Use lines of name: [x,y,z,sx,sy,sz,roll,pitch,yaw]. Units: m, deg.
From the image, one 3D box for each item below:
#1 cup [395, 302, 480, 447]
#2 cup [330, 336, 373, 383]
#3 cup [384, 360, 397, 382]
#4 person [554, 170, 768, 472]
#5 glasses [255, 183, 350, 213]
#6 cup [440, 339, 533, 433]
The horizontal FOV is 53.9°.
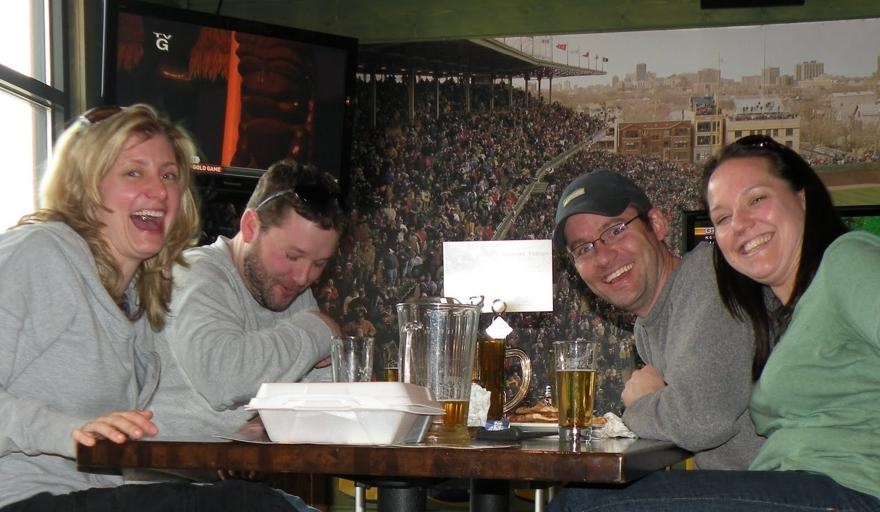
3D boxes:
cup: [-0.008,0.418,2.881,0.288,0.440,0.390,-6,-9,25]
cup: [-0.292,0.361,3.042,0.159,0.168,0.161,-4,-3,0]
cup: [-0.189,0.426,3.228,0.049,0.068,0.035,-1,-2,12]
person: [0.929,0.228,3.456,0.719,1.209,0.880,-15,-17,16]
glasses: [-0.594,-0.251,3.714,0.212,0.060,0.177,-14,-14,23]
cup: [0.179,0.435,3.043,0.431,0.403,0.244,2,-1,-7]
